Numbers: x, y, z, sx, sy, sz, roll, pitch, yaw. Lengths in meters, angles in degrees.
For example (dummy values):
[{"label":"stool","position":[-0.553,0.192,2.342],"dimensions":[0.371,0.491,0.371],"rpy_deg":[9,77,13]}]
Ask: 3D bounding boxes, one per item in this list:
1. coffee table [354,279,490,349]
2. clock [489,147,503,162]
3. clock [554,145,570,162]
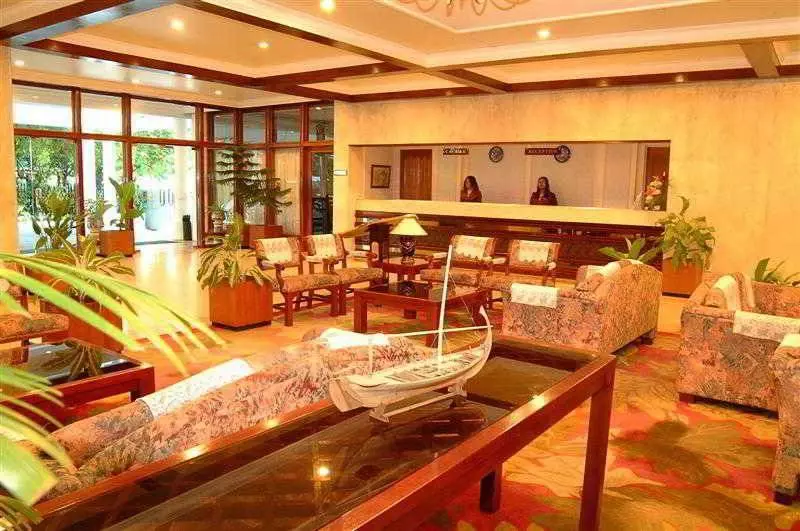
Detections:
[{"label":"coffee table","position":[0.157,0.448,6.470],"dimensions":[1.094,0.459,1.063],"rpy_deg":[4,7,39]},{"label":"clock","position":[2.596,-3.010,13.840],"dimensions":[0.404,0.391,0.096],"rpy_deg":[39,24,24]},{"label":"clock","position":[4.135,-2.837,12.997],"dimensions":[0.411,0.450,0.250],"rpy_deg":[2,10,0]}]
